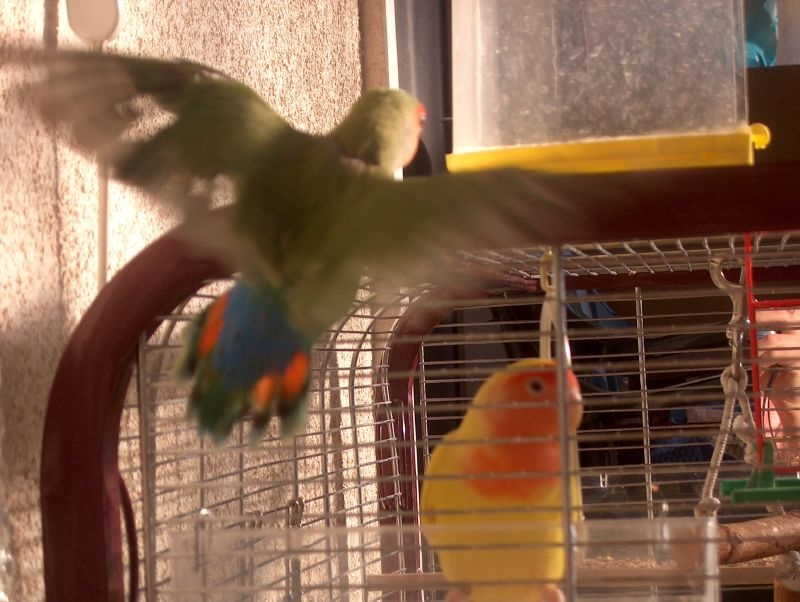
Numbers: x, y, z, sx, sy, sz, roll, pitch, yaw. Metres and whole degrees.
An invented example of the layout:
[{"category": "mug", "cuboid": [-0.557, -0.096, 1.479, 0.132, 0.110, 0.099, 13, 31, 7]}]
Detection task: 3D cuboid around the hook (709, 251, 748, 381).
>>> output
[{"category": "hook", "cuboid": [0.289, 0.020, 1.425, 0.038, 0.128, 0.018, -5, 10, 3]}]
